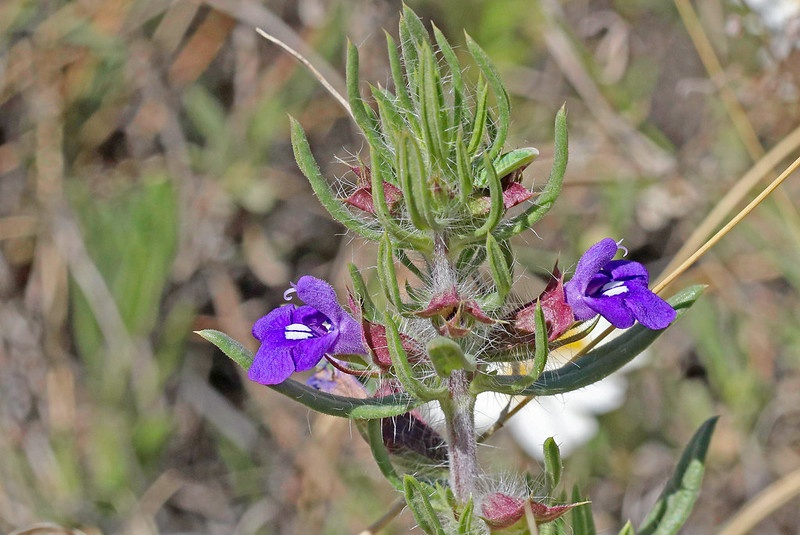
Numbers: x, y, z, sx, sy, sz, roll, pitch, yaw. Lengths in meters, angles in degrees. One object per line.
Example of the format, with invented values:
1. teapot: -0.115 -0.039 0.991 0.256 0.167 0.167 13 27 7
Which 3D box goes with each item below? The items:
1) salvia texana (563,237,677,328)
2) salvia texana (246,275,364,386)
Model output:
1. salvia texana: 0.966 0.091 4.379 0.459 0.181 0.374 32 72 -23
2. salvia texana: -0.444 0.281 4.337 0.476 0.230 0.439 -4 53 13
